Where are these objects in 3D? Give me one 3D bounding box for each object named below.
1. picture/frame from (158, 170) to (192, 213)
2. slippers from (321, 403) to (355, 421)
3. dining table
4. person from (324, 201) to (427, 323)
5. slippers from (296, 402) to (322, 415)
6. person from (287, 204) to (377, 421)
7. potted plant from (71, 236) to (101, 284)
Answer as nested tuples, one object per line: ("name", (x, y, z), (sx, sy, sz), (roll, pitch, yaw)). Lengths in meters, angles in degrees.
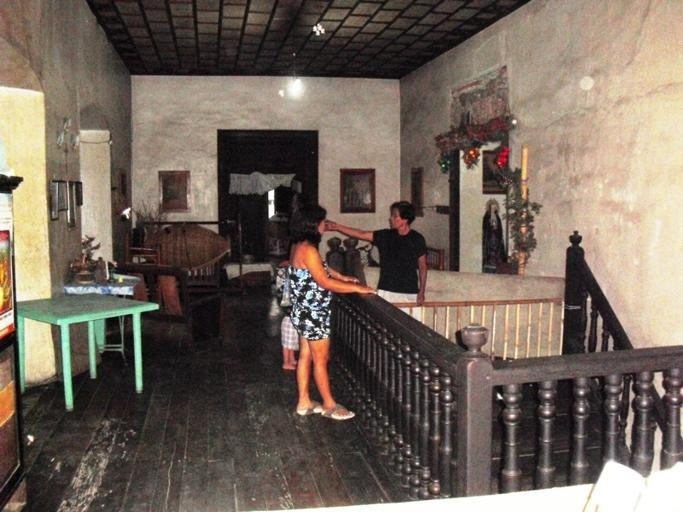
("picture/frame", (-3.489, -1.369, 12.263), (0.847, 1.169, 0.081), (0, 10, -7))
("slippers", (-0.042, 1.409, 5.299), (0.234, 0.100, 0.135), (3, 5, 4))
("dining table", (-2.524, 0.726, 5.903), (1.133, 0.917, 1.194), (-4, 10, -40))
("person", (0.405, 0.366, 6.676), (1.142, 1.921, 0.456), (-6, 22, -3))
("slippers", (-0.293, 1.415, 5.416), (0.227, 0.096, 0.100), (-1, 3, -14))
("person", (-0.163, 0.530, 5.248), (0.580, 1.883, 0.562), (-1, 9, -5))
("potted plant", (-3.079, 0.041, 7.074), (0.336, 0.489, 0.608), (-4, 10, -24))
